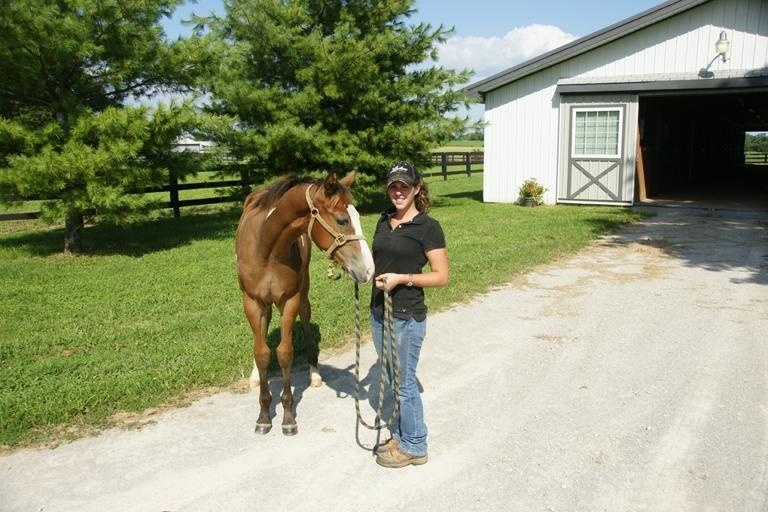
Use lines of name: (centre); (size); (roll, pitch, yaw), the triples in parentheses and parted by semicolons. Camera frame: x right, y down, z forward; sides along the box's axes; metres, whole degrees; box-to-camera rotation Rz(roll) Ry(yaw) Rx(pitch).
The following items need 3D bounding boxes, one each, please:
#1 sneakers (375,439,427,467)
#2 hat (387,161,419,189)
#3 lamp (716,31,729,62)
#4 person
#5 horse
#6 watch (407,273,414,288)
sneakers: (0.187, 2.145, 6.031); (0.518, 0.265, 0.229); (7, -2, -3)
hat: (0.207, -0.871, 5.911); (0.371, 0.265, 0.248); (-2, 13, 1)
lamp: (9.816, -6.120, 16.115); (0.329, 0.896, 1.050); (6, 15, 33)
person: (0.265, 0.611, 6.039); (0.822, 3.199, 0.735); (-2, 12, -3)
horse: (-1.081, 0.486, 6.653); (2.084, 2.950, 1.333); (9, 17, 41)
watch: (0.291, 0.246, 5.835); (0.065, 0.106, 0.104); (2, -19, 6)
